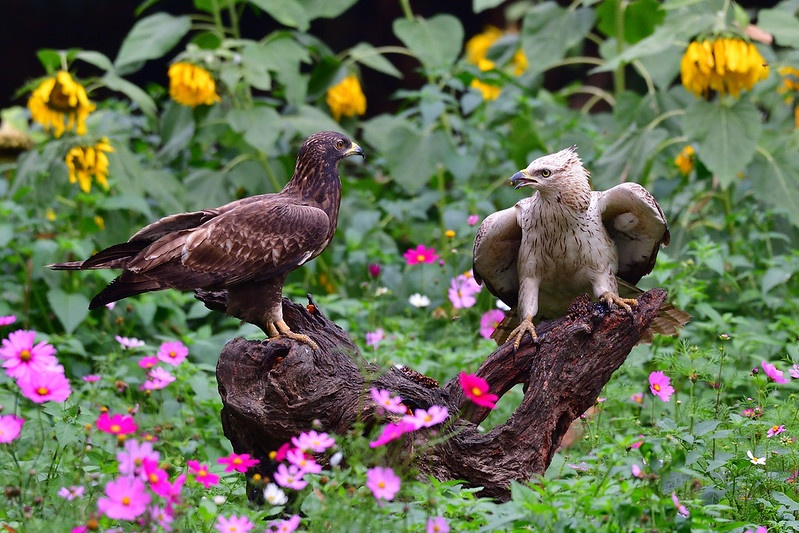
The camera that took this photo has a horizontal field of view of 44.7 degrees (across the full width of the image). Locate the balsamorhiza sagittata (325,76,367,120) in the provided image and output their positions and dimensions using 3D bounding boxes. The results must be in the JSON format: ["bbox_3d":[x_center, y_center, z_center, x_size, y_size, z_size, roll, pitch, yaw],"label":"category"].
[{"bbox_3d":[-0.357,-1.106,6.231,0.238,0.284,0.468,18,15,3],"label":"balsamorhiza sagittata"}]

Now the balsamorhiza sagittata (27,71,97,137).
[{"bbox_3d":[-1.963,-0.926,5.616,0.329,0.461,0.475,14,15,-12],"label":"balsamorhiza sagittata"}]

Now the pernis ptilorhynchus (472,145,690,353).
[{"bbox_3d":[0.919,-0.066,5.249,0.909,0.861,1.202,-1,-7,12],"label":"pernis ptilorhynchus"}]

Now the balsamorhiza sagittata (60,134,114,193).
[{"bbox_3d":[-1.825,-0.584,5.852,0.251,0.453,0.318,11,-12,-24],"label":"balsamorhiza sagittata"}]

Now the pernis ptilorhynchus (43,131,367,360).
[{"bbox_3d":[-0.561,-0.120,5.009,2.179,1.479,0.703,3,8,-14],"label":"pernis ptilorhynchus"}]
